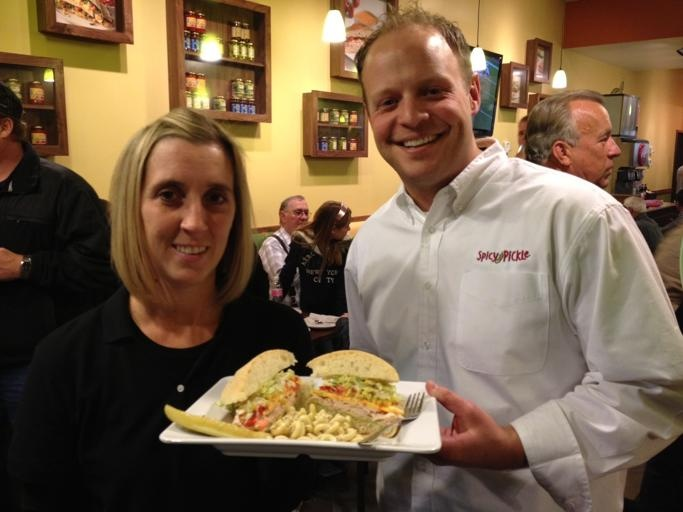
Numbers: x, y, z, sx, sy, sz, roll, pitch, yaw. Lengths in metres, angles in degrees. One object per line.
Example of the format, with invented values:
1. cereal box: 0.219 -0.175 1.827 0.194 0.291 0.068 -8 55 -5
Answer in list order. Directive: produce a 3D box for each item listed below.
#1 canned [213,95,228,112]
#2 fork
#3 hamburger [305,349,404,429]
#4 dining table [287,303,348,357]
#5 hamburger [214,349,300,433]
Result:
1. canned: -1.140 -1.443 4.368 0.164 0.153 0.144 -7 15 -28
2. fork: 0.169 0.423 1.279 0.065 0.068 0.466 -6 -1 24
3. hamburger: 0.064 0.362 1.388 0.210 0.105 0.230 -3 10 -24
4. dining table: -0.161 0.588 3.469 0.504 0.179 0.750 0 6 10
5. hamburger: -0.249 0.381 1.400 0.178 0.184 0.324 -8 4 16
